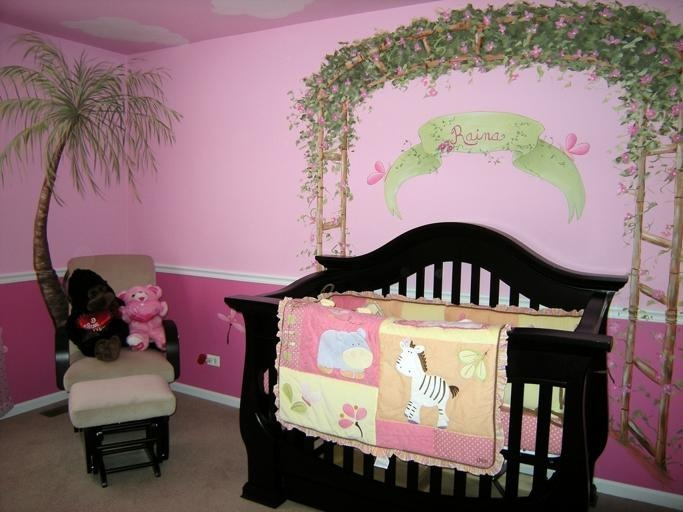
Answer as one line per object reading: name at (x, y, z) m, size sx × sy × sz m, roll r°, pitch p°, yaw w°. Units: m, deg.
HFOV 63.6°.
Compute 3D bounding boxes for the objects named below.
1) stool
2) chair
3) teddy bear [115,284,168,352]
stool at (-1.301, 1.029, 3.323) m, size 0.549 × 0.511 × 0.455 m, roll -2°, pitch 9°, yaw -26°
chair at (-1.498, 0.686, 3.687) m, size 0.707 × 1.099 × 1.227 m, roll -2°, pitch 17°, yaw -24°
teddy bear at (-1.455, 0.444, 4.051) m, size 0.418 × 0.573 × 0.436 m, roll -6°, pitch -10°, yaw -26°
